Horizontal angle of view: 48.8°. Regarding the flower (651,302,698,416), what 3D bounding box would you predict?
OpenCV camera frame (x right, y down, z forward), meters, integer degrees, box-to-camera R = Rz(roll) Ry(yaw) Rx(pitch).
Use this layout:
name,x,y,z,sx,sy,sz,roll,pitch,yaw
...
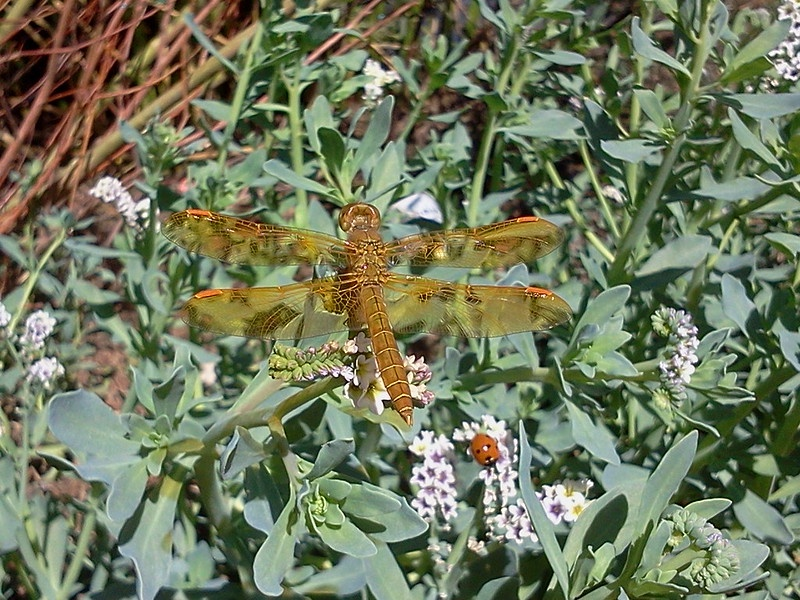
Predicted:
name,x,y,z,sx,sy,sz,roll,pitch,yaw
flower,0.596,0.127,1.970,0.108,0.215,0.095,25,27,19

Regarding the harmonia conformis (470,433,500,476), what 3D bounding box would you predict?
name,x,y,z,sx,sy,sz,roll,pitch,yaw
harmonia conformis,0.199,0.347,2.038,0.079,0.041,0.066,39,73,22

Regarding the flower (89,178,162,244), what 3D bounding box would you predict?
name,x,y,z,sx,sy,sz,roll,pitch,yaw
flower,-0.791,-0.279,2.531,0.093,0.153,0.220,-12,47,-38
